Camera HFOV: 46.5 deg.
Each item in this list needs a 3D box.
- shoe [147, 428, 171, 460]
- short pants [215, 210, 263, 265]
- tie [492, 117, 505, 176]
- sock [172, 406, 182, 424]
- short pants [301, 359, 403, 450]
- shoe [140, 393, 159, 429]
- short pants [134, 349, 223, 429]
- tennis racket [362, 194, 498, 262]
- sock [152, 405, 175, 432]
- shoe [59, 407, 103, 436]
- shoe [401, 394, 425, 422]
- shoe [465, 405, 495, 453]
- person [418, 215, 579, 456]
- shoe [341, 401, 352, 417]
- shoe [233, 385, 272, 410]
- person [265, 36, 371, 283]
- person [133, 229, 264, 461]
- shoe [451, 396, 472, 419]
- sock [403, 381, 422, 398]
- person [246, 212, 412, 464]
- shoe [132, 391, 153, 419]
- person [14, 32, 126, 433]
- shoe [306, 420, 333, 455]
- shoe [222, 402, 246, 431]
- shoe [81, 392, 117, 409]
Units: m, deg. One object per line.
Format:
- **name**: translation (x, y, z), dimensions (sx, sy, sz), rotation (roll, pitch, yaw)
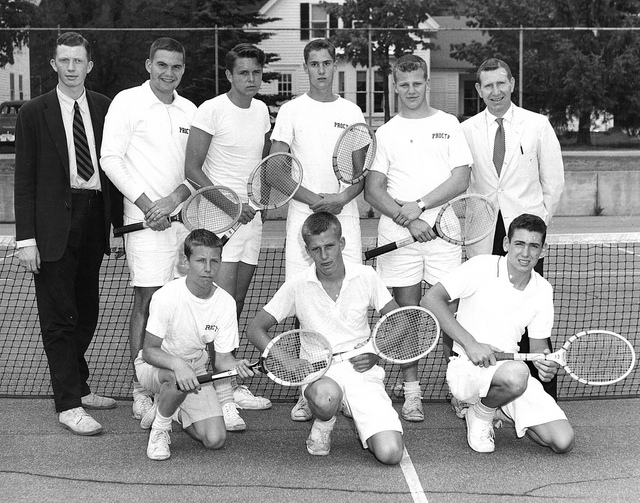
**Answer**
- **shoe**: translation (-1.087, 1.307, 5.085), dimensions (0.149, 0.165, 0.433), rotation (7, 0, -15)
- **short pants**: translation (-0.630, -0.099, 6.178), dimensions (0.356, 0.473, 0.217), rotation (-4, 10, -25)
- **tie**: translation (1.456, -0.863, 6.074), dimensions (0.092, 0.453, 0.071), rotation (2, 9, 12)
- **sock**: translation (-0.993, 1.144, 5.185), dimensions (0.086, 0.121, 0.089), rotation (6, -16, -8)
- **short pants**: translation (0.289, 1.049, 5.094), dimensions (0.418, 0.500, 0.481), rotation (-2, 9, -15)
- **shoe**: translation (-1.224, 1.164, 5.373), dimensions (0.103, 0.280, 0.091), rotation (8, 25, -32)
- **short pants**: translation (-0.956, 0.940, 5.298), dimensions (0.224, 0.434, 0.727), rotation (-22, 39, -38)
- **tennis racket**: translation (0.854, -0.115, 5.877), dimensions (1.089, 0.483, 0.096), rotation (-23, 2, 3)
- **sock**: translation (-1.043, 1.134, 5.069), dimensions (0.115, 0.179, 0.132), rotation (2, -12, 23)
- **shoe**: translation (-1.701, 1.203, 5.345), dimensions (0.328, 0.157, 0.144), rotation (4, 10, 38)
- **shoe**: translation (0.716, 1.177, 5.719), dimensions (0.177, 0.174, 0.285), rotation (1, 9, 7)
- **shoe**: translation (1.103, 1.217, 5.145), dimensions (0.209, 0.278, 0.222), rotation (3, 9, 18)
- **person**: translation (1.303, 0.571, 5.214), dimensions (1.042, 1.574, 0.800), rotation (6, 11, 23)
- **shoe**: translation (0.181, 1.134, 5.309), dimensions (0.029, 0.092, 0.115), rotation (-22, 25, -1)
- **shoe**: translation (-0.487, 1.167, 5.930), dimensions (0.357, 0.180, 0.130), rotation (3, -2, 6)
- **person**: translation (0.019, -0.304, 6.191), dimensions (0.792, 2.806, 0.746), rotation (0, 20, 1)
- **person**: translation (-0.837, 0.640, 5.126), dimensions (0.880, 1.437, 0.905), rotation (5, 8, -7)
- **shoe**: translation (1.078, 1.207, 5.679), dimensions (0.075, 0.113, 0.238), rotation (0, -11, -4)
- **sock**: translation (0.715, 1.066, 5.712), dimensions (0.099, 0.130, 0.128), rotation (-1, -21, -6)
- **person**: translation (0.045, 0.612, 5.193), dimensions (1.133, 1.751, 0.924), rotation (0, 7, 24)
- **shoe**: translation (-1.331, 1.157, 5.620), dimensions (0.136, 0.120, 0.330), rotation (-23, 13, -10)
- **person**: translation (-1.834, -0.180, 5.576), dimensions (0.654, 2.853, 0.778), rotation (6, 10, 34)
- **shoe**: translation (-0.003, 1.296, 5.046), dimensions (0.092, 0.264, 0.109), rotation (4, -32, -3)
- **shoe**: translation (-0.629, 1.216, 5.520), dimensions (0.163, 0.176, 0.184), rotation (-2, 9, -12)
- **shoe**: translation (-1.727, 1.179, 5.863), dimensions (0.249, 0.115, 0.108), rotation (-1, 0, -2)
